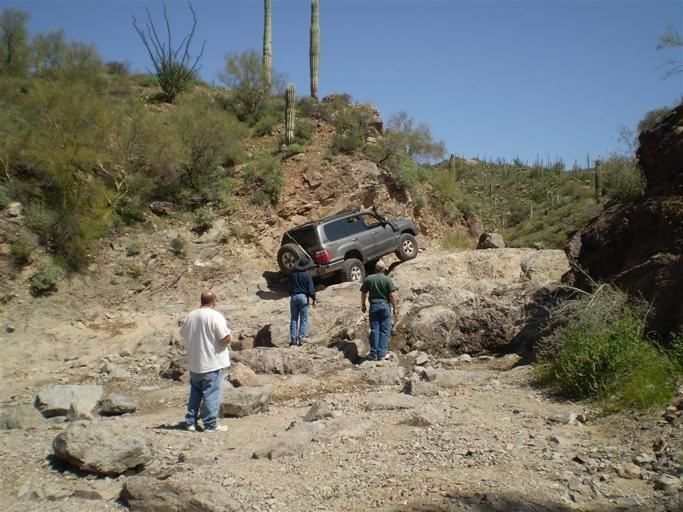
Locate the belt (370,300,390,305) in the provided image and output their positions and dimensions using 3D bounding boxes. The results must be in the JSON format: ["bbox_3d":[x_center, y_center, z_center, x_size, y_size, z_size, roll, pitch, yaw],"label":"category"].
[{"bbox_3d":[0.799,0.985,11.558,0.332,0.112,0.087,-2,1,-14],"label":"belt"}]

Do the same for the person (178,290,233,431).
[{"bbox_3d":[-2.240,1.765,9.119,0.851,1.790,0.348,-2,1,-2],"label":"person"}]

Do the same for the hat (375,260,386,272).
[{"bbox_3d":[0.822,0.267,11.844,0.197,0.250,0.300,3,-10,2],"label":"hat"}]

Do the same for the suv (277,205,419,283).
[{"bbox_3d":[0.315,-0.490,18.060,4.441,1.895,2.162,-30,14,-40],"label":"suv"}]

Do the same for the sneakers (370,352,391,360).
[{"bbox_3d":[0.797,2.166,11.629,0.437,0.212,0.170,-2,0,-8],"label":"sneakers"}]

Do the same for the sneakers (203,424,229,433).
[{"bbox_3d":[-2.097,2.836,9.131,0.360,0.184,0.161,-3,0,-14],"label":"sneakers"}]

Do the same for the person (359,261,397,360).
[{"bbox_3d":[0.793,1.178,11.957,0.733,2.075,1.122,-2,1,3],"label":"person"}]
